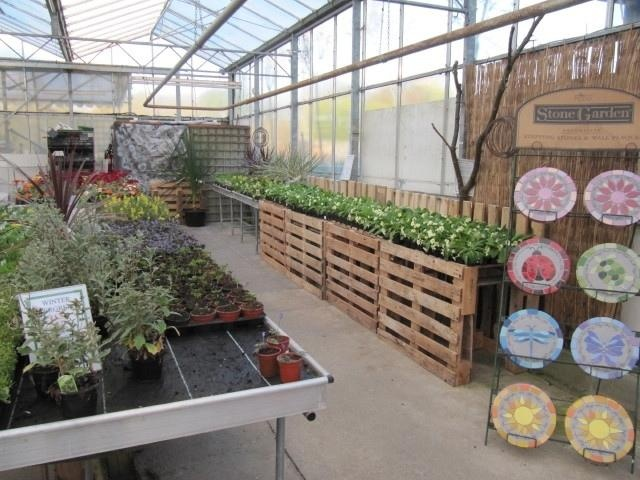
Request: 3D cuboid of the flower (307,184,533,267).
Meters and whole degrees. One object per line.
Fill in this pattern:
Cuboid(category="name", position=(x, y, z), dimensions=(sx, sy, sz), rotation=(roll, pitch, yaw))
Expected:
Cuboid(category="flower", position=(0.790, -0.195, 4.318), dimensions=(0.515, 0.256, 2.140), rotation=(-33, 27, -25))
